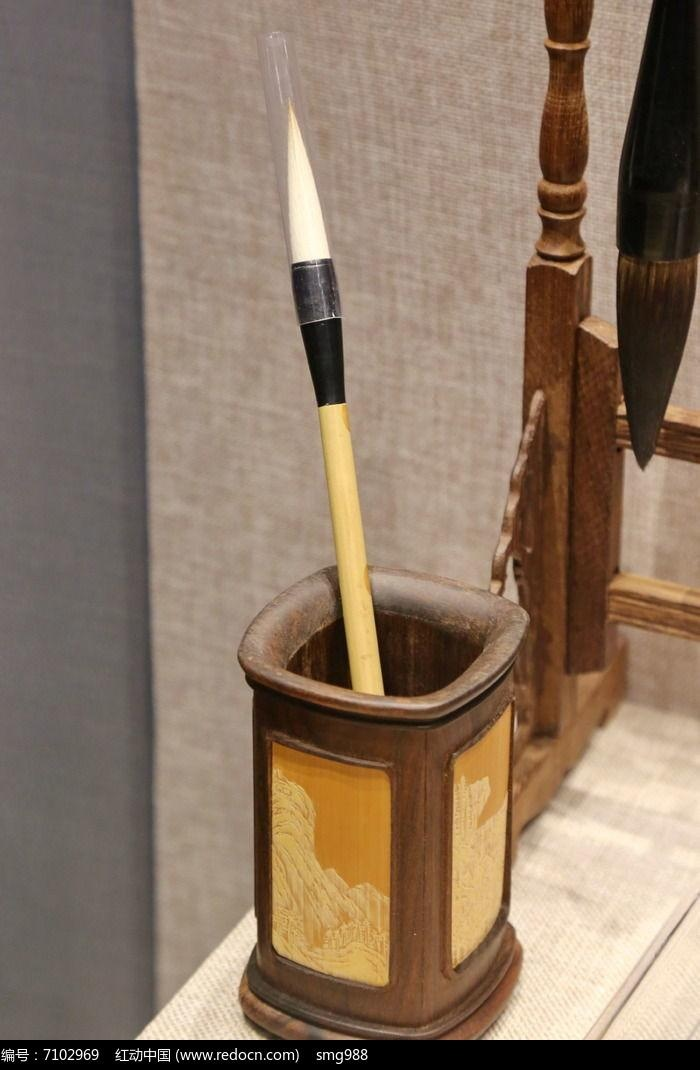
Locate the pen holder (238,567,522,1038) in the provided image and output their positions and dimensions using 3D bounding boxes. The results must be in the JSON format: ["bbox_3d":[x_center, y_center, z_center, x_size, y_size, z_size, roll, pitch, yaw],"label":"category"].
[{"bbox_3d":[0.016,0.135,0.655,0.135,0.216,0.135,-9,24,-21],"label":"pen holder"}]
